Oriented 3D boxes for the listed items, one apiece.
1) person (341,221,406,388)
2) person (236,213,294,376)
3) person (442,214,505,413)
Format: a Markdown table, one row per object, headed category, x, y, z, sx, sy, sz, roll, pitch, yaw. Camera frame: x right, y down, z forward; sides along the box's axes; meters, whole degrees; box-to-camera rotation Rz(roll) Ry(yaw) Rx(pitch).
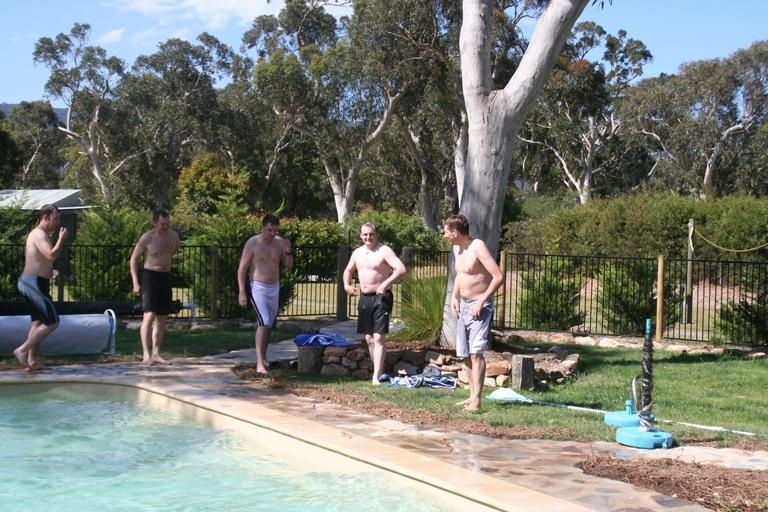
| category | x | y | z | sx | sy | sz | roll | pitch | yaw |
| --- | --- | --- | --- | --- | --- | --- | --- | --- | --- |
| person | -0.158 | 0.800 | 12.539 | 0.904 | 2.570 | 0.969 | -3 | 13 | -7 |
| person | -2.098 | 0.628 | 13.336 | 0.706 | 2.637 | 1.151 | 5 | 14 | 23 |
| person | 1.322 | 0.893 | 11.442 | 0.741 | 2.839 | 1.156 | -2 | 13 | -3 |
